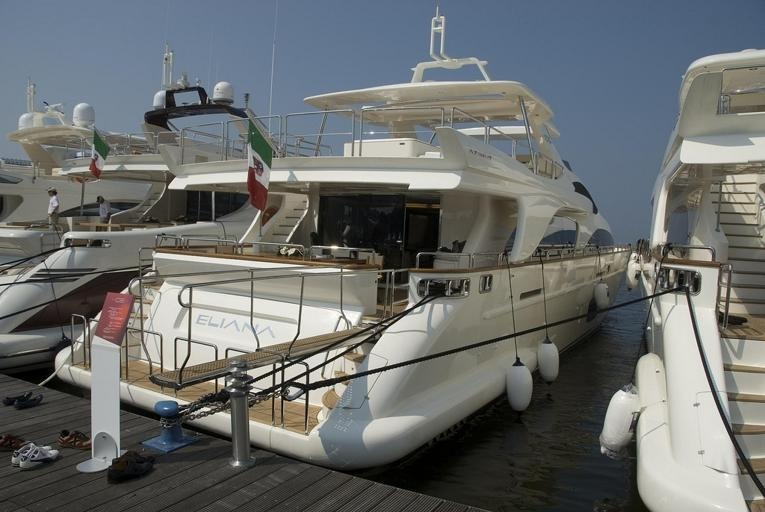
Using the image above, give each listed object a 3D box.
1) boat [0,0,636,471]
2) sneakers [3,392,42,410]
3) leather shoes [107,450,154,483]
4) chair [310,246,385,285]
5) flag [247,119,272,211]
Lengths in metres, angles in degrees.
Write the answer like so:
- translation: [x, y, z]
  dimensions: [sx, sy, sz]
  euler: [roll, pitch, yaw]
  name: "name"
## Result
- translation: [0.969, 0.000, 10.898]
  dimensions: [8.246, 4.856, 11.324]
  euler: [5, 8, 41]
  name: "boat"
- translation: [-4.823, 1.988, 7.126]
  dimensions: [0.258, 0.106, 0.320]
  euler: [6, 11, 27]
  name: "sneakers"
- translation: [-2.679, 2.285, 5.635]
  dimensions: [0.239, 0.158, 0.417]
  euler: [10, 12, 28]
  name: "leather shoes"
- translation: [-0.576, 0.283, 8.708]
  dimensions: [0.749, 0.468, 1.078]
  euler: [-4, 7, -36]
  name: "chair"
- translation: [-1.863, -1.382, 7.905]
  dimensions: [0.208, 1.338, 0.513]
  euler: [4, 8, 22]
  name: "flag"
